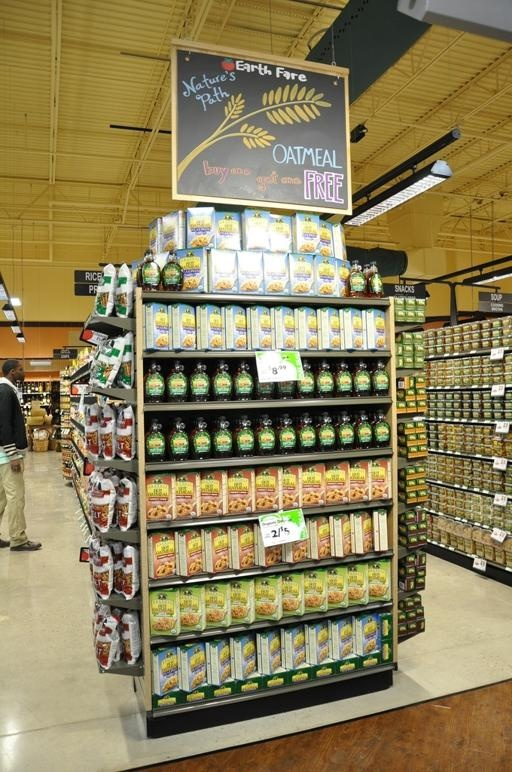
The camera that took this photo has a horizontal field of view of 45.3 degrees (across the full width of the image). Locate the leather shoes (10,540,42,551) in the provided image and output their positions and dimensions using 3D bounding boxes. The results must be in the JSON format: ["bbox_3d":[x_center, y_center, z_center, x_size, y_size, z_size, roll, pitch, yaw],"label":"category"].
[{"bbox_3d":[-2.326,1.643,6.298,0.291,0.140,0.118,0,-1,-8],"label":"leather shoes"}]

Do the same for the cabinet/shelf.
[{"bbox_3d":[0.205,0.712,3.228,2.287,2.586,0.857,-1,4,-19],"label":"cabinet/shelf"}]

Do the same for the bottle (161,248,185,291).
[{"bbox_3d":[-0.387,-0.550,2.905,0.107,0.200,0.064,-1,-2,-10],"label":"bottle"}]
